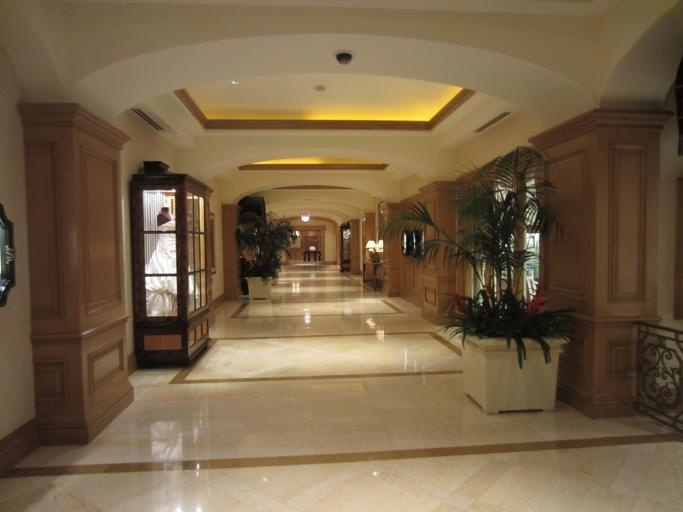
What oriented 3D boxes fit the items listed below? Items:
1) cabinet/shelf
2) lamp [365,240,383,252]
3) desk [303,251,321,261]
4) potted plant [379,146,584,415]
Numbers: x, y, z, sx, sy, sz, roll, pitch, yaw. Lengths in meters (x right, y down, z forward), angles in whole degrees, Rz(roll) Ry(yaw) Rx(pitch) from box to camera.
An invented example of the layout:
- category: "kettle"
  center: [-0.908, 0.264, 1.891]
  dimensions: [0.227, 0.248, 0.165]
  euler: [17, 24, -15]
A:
- category: "cabinet/shelf"
  center: [-2.446, 0.159, 6.577]
  dimensions: [0.819, 2.628, 0.981]
  euler: [0, 7, 1]
- category: "lamp"
  center: [1.041, -0.299, 14.253]
  dimensions: [0.313, 0.600, 0.407]
  euler: [1, 4, 26]
- category: "desk"
  center: [-2.063, -0.067, 32.757]
  dimensions: [1.277, 0.687, 0.621]
  euler: [-1, 8, -6]
- category: "potted plant"
  center: [1.973, 0.302, 6.578]
  dimensions: [2.493, 4.121, 2.854]
  euler: [-1, 3, -6]
